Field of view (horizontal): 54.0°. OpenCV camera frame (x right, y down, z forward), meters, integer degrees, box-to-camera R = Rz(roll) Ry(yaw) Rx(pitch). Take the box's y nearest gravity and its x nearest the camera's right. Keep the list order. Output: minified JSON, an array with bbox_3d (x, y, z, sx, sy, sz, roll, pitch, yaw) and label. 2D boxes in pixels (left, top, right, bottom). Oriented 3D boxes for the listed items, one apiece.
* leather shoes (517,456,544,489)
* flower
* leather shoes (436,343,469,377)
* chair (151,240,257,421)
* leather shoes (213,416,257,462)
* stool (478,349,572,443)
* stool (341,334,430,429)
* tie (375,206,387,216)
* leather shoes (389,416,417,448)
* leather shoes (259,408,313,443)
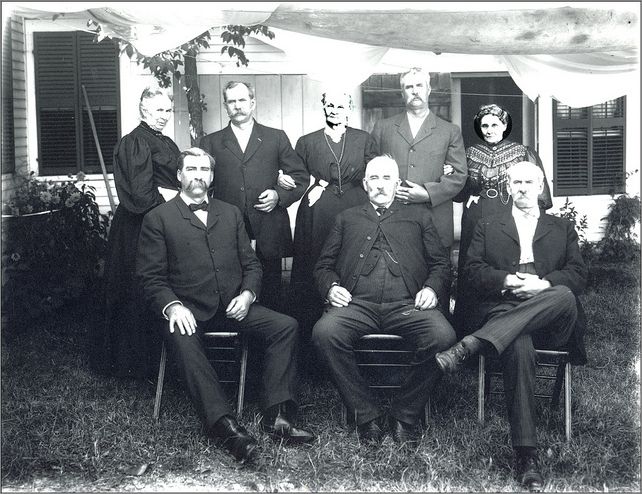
[{"bbox_3d":[1.215,1.307,3.651,0.134,0.135,0.153,2,15,8],"label":"leather shoes"},{"bbox_3d":[-2.898,-0.314,6.918,0.955,1.225,1.353,5,-24,-30],"label":"flower"},{"bbox_3d":[0.809,0.706,3.889,0.211,0.239,0.173,3,16,13],"label":"leather shoes"},{"bbox_3d":[-0.816,0.831,4.507,0.577,0.655,0.703,1,-11,4],"label":"chair"},{"bbox_3d":[-0.535,1.171,3.883,0.325,0.139,0.186,33,21,35],"label":"leather shoes"},{"bbox_3d":[1.426,0.919,4.391,0.565,0.696,0.710,0,-2,19],"label":"stool"},{"bbox_3d":[0.480,0.964,4.691,0.733,0.697,0.566,0,-17,3],"label":"stool"},{"bbox_3d":[0.427,-0.254,4.449,0.070,0.071,0.017,-2,-13,13],"label":"tie"},{"bbox_3d":[0.529,1.179,4.030,0.188,0.143,0.173,1,15,7],"label":"leather shoes"},{"bbox_3d":[-0.227,1.152,4.105,0.415,0.283,0.149,0,-2,7],"label":"leather shoes"}]
